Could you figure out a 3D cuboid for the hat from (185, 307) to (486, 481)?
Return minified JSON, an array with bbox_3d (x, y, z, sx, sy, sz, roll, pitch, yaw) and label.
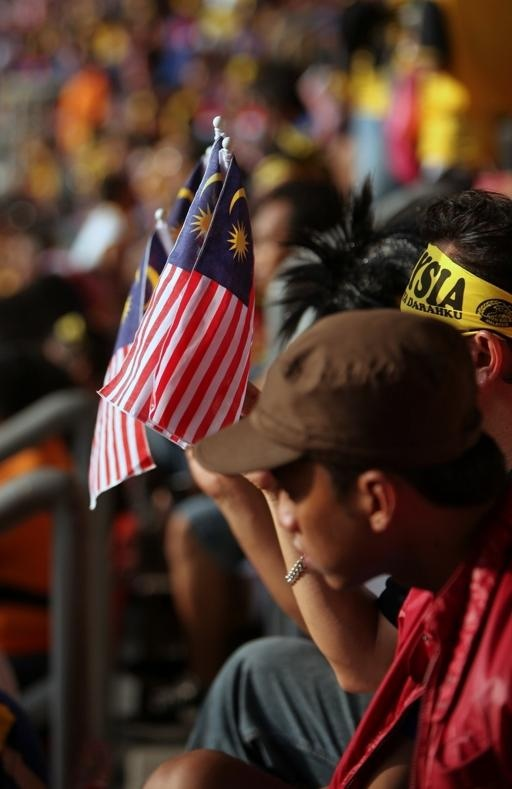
[{"bbox_3d":[0.086,-0.009,0.850,0.262,0.114,0.174,-2,9,9],"label":"hat"}]
